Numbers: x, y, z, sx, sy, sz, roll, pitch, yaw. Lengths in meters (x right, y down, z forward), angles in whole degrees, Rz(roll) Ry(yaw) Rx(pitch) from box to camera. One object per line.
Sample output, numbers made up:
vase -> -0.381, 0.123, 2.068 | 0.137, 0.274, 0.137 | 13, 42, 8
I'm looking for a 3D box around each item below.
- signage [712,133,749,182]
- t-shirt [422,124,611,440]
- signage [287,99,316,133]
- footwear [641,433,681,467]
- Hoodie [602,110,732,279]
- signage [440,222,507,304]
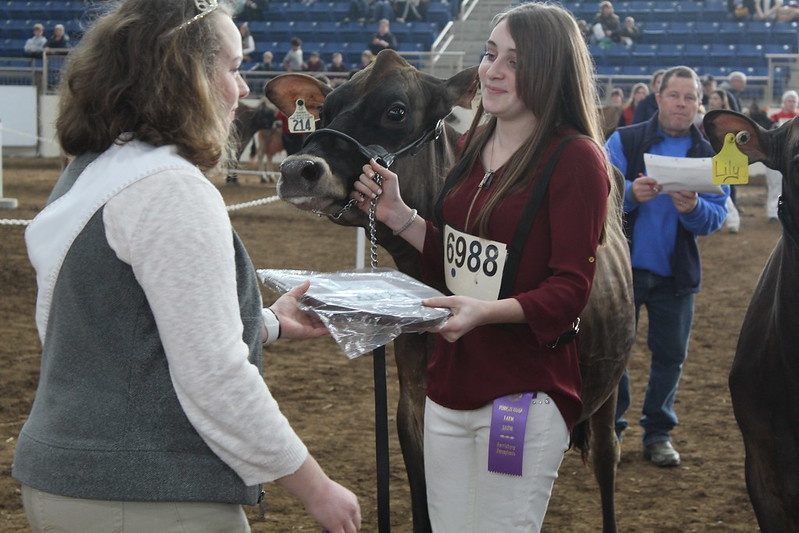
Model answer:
signage -> 3.232, -1.081, 17.101 | 0.436, 0.678, 0.044 | 0, 9, 18
t-shirt -> 1.107, 0.036, 16.953 | 1.523, 2.864, 2.013 | 1, 13, -37
signage -> -0.980, -1.514, 17.445 | 0.337, 0.424, 0.042 | 1, 8, 12
footwear -> 2.737, 1.948, 18.345 | 0.201, 0.229, 0.457 | -4, -1, -12
Hoodie -> 2.724, -0.616, 18.303 | 1.353, 1.763, 0.898 | 2, 19, 7
signage -> 0.656, -0.013, 16.441 | 0.786, 0.663, 0.117 | 20, 22, 37
